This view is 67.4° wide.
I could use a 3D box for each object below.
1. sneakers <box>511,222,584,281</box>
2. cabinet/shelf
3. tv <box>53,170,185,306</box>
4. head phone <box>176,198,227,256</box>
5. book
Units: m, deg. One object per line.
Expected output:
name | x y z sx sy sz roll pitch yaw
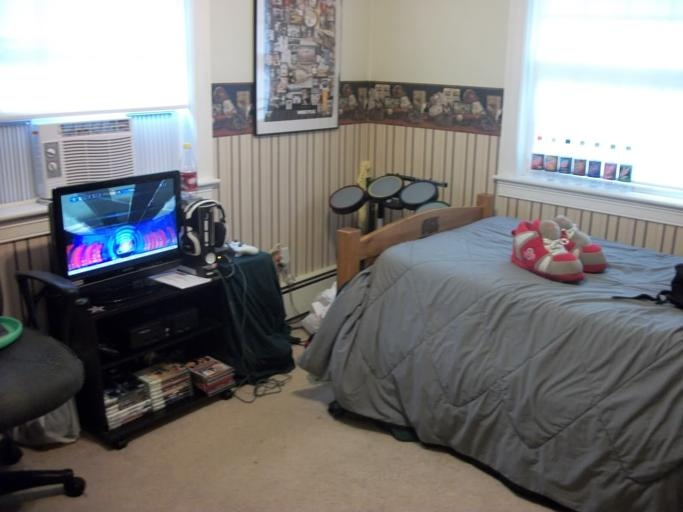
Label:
sneakers | 1.101 -0.049 2.798 0.264 0.294 0.623 -3 13 -5
cabinet/shelf | -1.124 0.333 3.014 0.885 0.934 1.397 12 21 38
tv | -1.173 -0.100 2.651 0.244 0.542 0.602 11 17 34
head phone | -0.808 -0.155 2.937 0.133 0.346 0.275 7 11 41
book | -0.970 0.724 2.828 0.434 0.123 0.303 -14 18 -38
